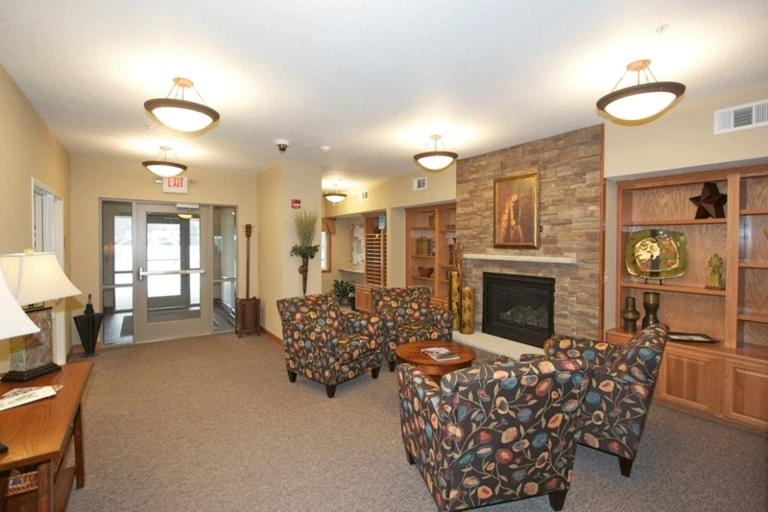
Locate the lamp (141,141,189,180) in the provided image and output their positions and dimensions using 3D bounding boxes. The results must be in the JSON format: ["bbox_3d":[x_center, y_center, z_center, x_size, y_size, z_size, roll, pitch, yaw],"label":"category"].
[{"bbox_3d":[-3.136,-1.343,7.260,0.688,0.401,0.661,2,-2,-35],"label":"lamp"}]

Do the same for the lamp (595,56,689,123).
[{"bbox_3d":[2.604,-1.678,5.245,0.761,0.551,0.947,-1,0,16],"label":"lamp"}]

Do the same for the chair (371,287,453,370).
[{"bbox_3d":[0.356,0.986,7.252,1.080,0.905,0.964,-2,8,-22],"label":"chair"}]

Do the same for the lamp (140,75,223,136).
[{"bbox_3d":[-2.085,-1.531,5.233,0.692,0.422,0.673,4,-10,-34],"label":"lamp"}]

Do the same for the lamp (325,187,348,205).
[{"bbox_3d":[-1.004,-1.258,10.575,0.388,0.254,0.395,3,2,44],"label":"lamp"}]

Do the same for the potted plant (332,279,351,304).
[{"bbox_3d":[-0.950,0.811,11.362,0.547,0.506,0.521,1,-8,-9],"label":"potted plant"}]

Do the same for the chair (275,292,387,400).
[{"bbox_3d":[-0.689,1.134,6.827,1.307,0.985,1.312,2,6,22],"label":"chair"}]

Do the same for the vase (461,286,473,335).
[{"bbox_3d":[1.305,0.847,7.795,0.199,0.706,0.138,-2,1,4],"label":"vase"}]

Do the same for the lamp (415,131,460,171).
[{"bbox_3d":[0.686,-1.344,6.676,0.490,0.328,0.522,-2,-1,31],"label":"lamp"}]

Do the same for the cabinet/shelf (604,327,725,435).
[{"bbox_3d":[3.684,1.446,6.073,1.610,0.926,0.512,10,-20,-10],"label":"cabinet/shelf"}]

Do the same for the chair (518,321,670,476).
[{"bbox_3d":[2.323,1.361,5.583,1.676,1.256,1.668,-4,10,-26],"label":"chair"}]
